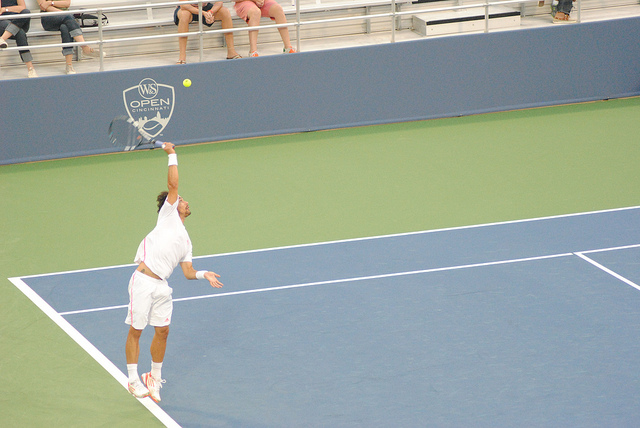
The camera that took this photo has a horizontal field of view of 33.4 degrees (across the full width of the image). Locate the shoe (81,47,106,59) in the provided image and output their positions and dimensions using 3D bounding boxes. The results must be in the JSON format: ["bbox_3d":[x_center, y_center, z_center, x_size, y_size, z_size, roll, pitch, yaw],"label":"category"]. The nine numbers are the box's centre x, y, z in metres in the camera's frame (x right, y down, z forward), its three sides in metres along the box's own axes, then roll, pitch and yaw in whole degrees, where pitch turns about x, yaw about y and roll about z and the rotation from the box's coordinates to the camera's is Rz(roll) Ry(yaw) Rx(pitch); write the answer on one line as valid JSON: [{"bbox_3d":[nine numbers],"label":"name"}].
[{"bbox_3d":[-4.947,-3.458,23.344,0.490,0.214,0.254,0,35,-5],"label":"shoe"}]

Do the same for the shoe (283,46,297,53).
[{"bbox_3d":[-0.691,-3.632,23.663,0.231,0.112,0.136,0,19,-4],"label":"shoe"}]

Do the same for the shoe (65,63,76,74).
[{"bbox_3d":[-5.336,-3.110,22.838,0.121,0.156,0.375,-10,26,-20],"label":"shoe"}]

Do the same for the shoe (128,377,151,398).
[{"bbox_3d":[-2.802,2.646,16.417,0.179,0.229,0.473,-20,24,-33],"label":"shoe"}]

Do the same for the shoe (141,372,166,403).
[{"bbox_3d":[-2.595,2.590,16.667,0.290,0.398,0.873,1,0,-5],"label":"shoe"}]

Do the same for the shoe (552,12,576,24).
[{"bbox_3d":[5.591,-4.537,24.781,0.564,0.279,0.221,-1,12,7],"label":"shoe"}]

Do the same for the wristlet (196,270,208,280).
[{"bbox_3d":[-1.815,0.913,16.293,0.165,0.159,0.511,0,4,-7],"label":"wristlet"}]

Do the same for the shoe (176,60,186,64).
[{"bbox_3d":[-3.054,-3.304,23.253,0.184,0.090,0.208,2,4,14],"label":"shoe"}]

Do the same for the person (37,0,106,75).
[{"bbox_3d":[-5.476,-3.825,23.205,1.087,1.614,0.878,3,5,32],"label":"person"}]

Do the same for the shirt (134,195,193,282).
[{"bbox_3d":[-2.520,0.424,17.186,1.209,0.799,0.415,24,3,10],"label":"shirt"}]
